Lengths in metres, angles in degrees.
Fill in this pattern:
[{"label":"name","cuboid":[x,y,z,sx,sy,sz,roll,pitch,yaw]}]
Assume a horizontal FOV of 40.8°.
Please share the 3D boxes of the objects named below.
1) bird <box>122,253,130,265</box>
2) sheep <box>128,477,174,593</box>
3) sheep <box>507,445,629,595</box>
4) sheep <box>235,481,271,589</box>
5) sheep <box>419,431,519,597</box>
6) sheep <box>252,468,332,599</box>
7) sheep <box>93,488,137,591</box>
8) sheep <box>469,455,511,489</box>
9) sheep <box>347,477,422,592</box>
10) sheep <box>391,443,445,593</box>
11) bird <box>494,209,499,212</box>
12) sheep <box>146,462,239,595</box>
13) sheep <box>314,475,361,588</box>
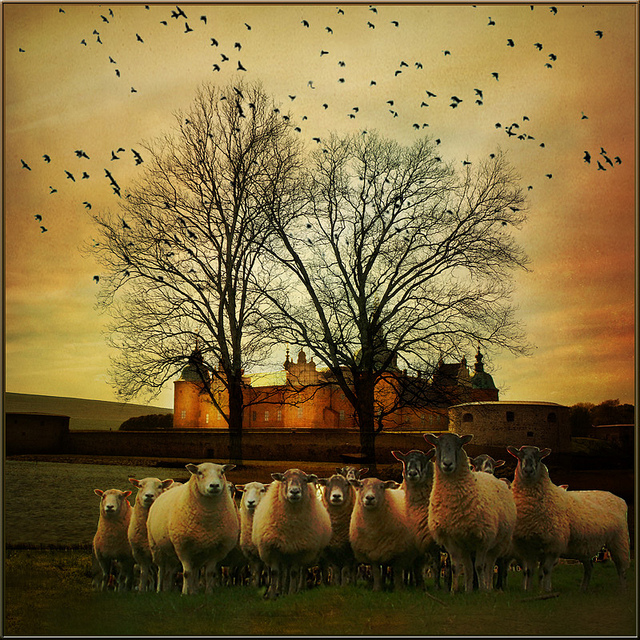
[{"label":"bird","cuboid":[-4.943,-1.546,21.720,0.098,0.269,0.305,-3,-8,11]},{"label":"sheep","cuboid":[-2.906,3.777,14.925,0.641,1.991,2.276,0,-13,-5]},{"label":"sheep","cuboid":[3.876,3.309,13.773,2.696,2.125,1.133,17,-13,-30]},{"label":"sheep","cuboid":[-1.062,3.724,14.702,0.630,1.739,2.046,-3,-18,1]},{"label":"sheep","cuboid":[2.279,2.877,12.897,0.948,2.355,1.227,-8,-10,42]},{"label":"sheep","cuboid":[-0.462,3.288,13.442,1.212,1.876,1.145,-1,-7,-5]},{"label":"sheep","cuboid":[-3.544,3.851,14.819,0.606,1.730,1.971,1,-17,-3]},{"label":"sheep","cuboid":[2.962,2.568,14.963,0.523,0.702,1.259,0,-16,6]},{"label":"sheep","cuboid":[0.965,3.342,13.464,1.384,1.744,0.948,5,-10,-42]},{"label":"sheep","cuboid":[1.764,3.170,14.184,0.685,1.866,2.412,-3,-16,16]},{"label":"bird","cuboid":[4.431,-2.737,21.505,0.121,0.023,0.034,2,-19,-3]},{"label":"sheep","cuboid":[-2.059,3.303,13.736,1.476,2.011,0.846,-5,-8,29]},{"label":"sheep","cuboid":[0.332,3.649,14.723,0.781,1.807,2.485,0,-17,5]}]
